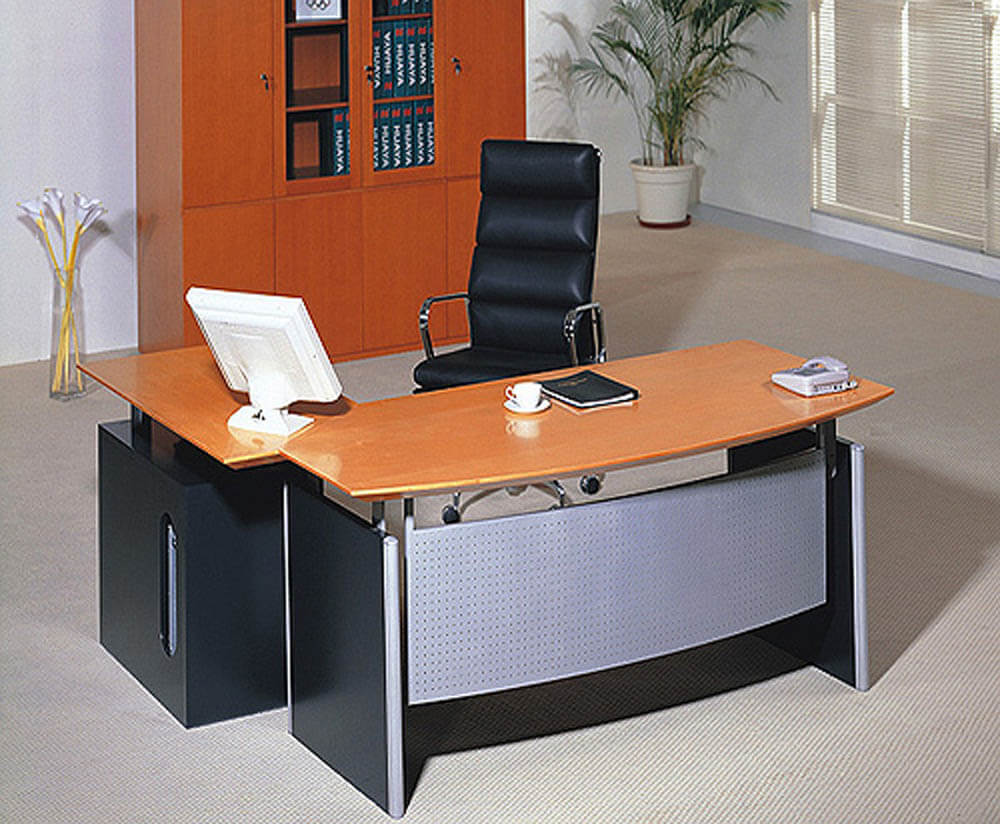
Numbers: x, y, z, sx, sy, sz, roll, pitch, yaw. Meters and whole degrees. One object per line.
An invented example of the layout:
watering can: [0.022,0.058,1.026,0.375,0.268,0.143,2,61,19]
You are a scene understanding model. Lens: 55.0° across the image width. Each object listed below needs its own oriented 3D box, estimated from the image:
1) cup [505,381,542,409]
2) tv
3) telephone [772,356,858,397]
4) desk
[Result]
cup: [0.073,-0.049,2.788,0.072,0.058,0.086,1,4,21]
tv: [-0.673,-0.150,2.663,0.413,0.375,0.215,11,25,36]
telephone: [0.938,-0.111,2.854,0.148,0.064,0.148,-10,18,-21]
desk: [-0.252,0.106,2.774,1.487,0.728,1.500,-11,21,-32]
